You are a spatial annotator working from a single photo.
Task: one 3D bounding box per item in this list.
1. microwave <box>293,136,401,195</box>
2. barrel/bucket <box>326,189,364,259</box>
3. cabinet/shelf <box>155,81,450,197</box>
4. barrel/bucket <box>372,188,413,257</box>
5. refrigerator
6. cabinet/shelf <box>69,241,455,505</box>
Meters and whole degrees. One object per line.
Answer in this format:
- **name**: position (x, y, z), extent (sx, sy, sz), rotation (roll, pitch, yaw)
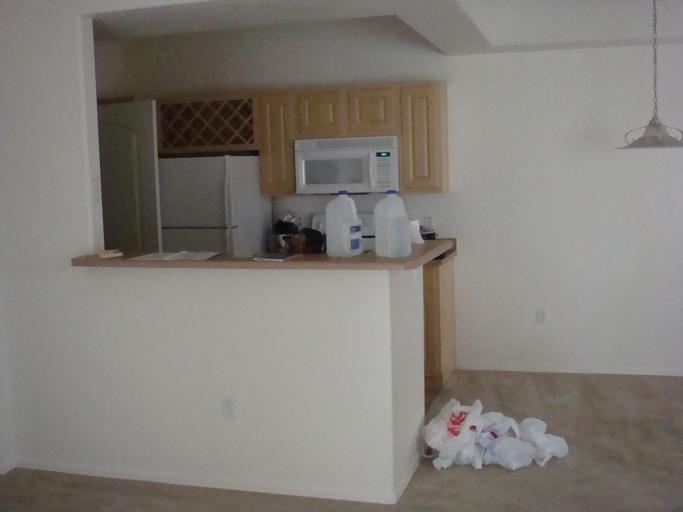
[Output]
- **microwave**: position (0.073, -0.768, 4.930), extent (0.631, 0.341, 0.316), rotation (1, 4, 14)
- **barrel/bucket**: position (0.006, -0.181, 3.258), extent (0.210, 0.350, 0.187), rotation (-9, 12, -43)
- **cabinet/shelf**: position (-0.362, -0.905, 5.227), extent (2.442, 0.932, 0.474), rotation (-2, 10, 10)
- **barrel/bucket**: position (0.257, -0.167, 3.214), extent (0.202, 0.357, 0.202), rotation (0, -3, 0)
- **refrigerator**: position (-1.060, -0.398, 5.222), extent (0.649, 0.884, 0.643), rotation (2, 12, 14)
- **cabinet/shelf**: position (-0.325, 0.607, 3.621), extent (1.522, 0.988, 1.571), rotation (0, 3, 9)
